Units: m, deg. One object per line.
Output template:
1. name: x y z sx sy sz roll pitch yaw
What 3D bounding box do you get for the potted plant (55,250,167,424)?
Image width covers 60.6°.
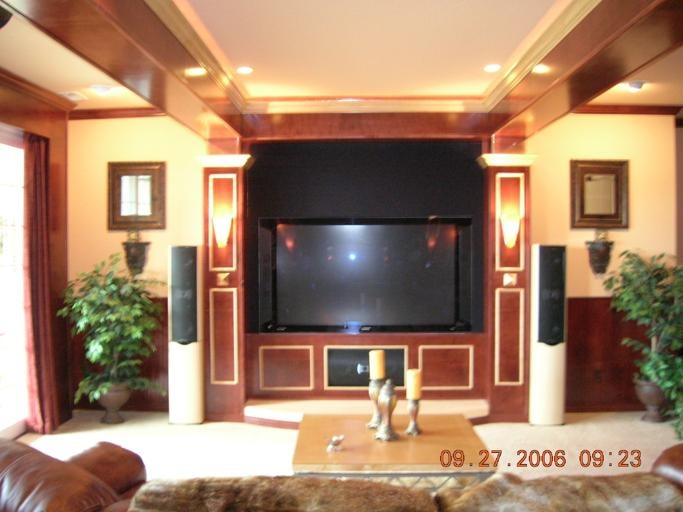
1. potted plant: -2.312 0.802 5.836 0.978 1.660 0.644 -2 -1 -10

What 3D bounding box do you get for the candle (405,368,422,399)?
1. candle: 0.496 0.905 4.101 0.096 0.155 0.093 -2 -1 18

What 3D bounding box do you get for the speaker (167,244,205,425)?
1. speaker: -1.538 0.771 5.680 0.311 1.734 0.108 -1 -1 -16

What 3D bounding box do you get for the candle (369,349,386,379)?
1. candle: 0.248 0.774 4.155 0.091 0.150 0.169 -2 -1 10

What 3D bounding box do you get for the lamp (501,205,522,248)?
1. lamp: 1.645 -0.281 5.745 0.222 0.366 0.089 4 3 7

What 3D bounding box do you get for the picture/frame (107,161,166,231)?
1. picture/frame: -2.163 -0.622 6.138 0.813 0.849 0.066 0 -1 2
